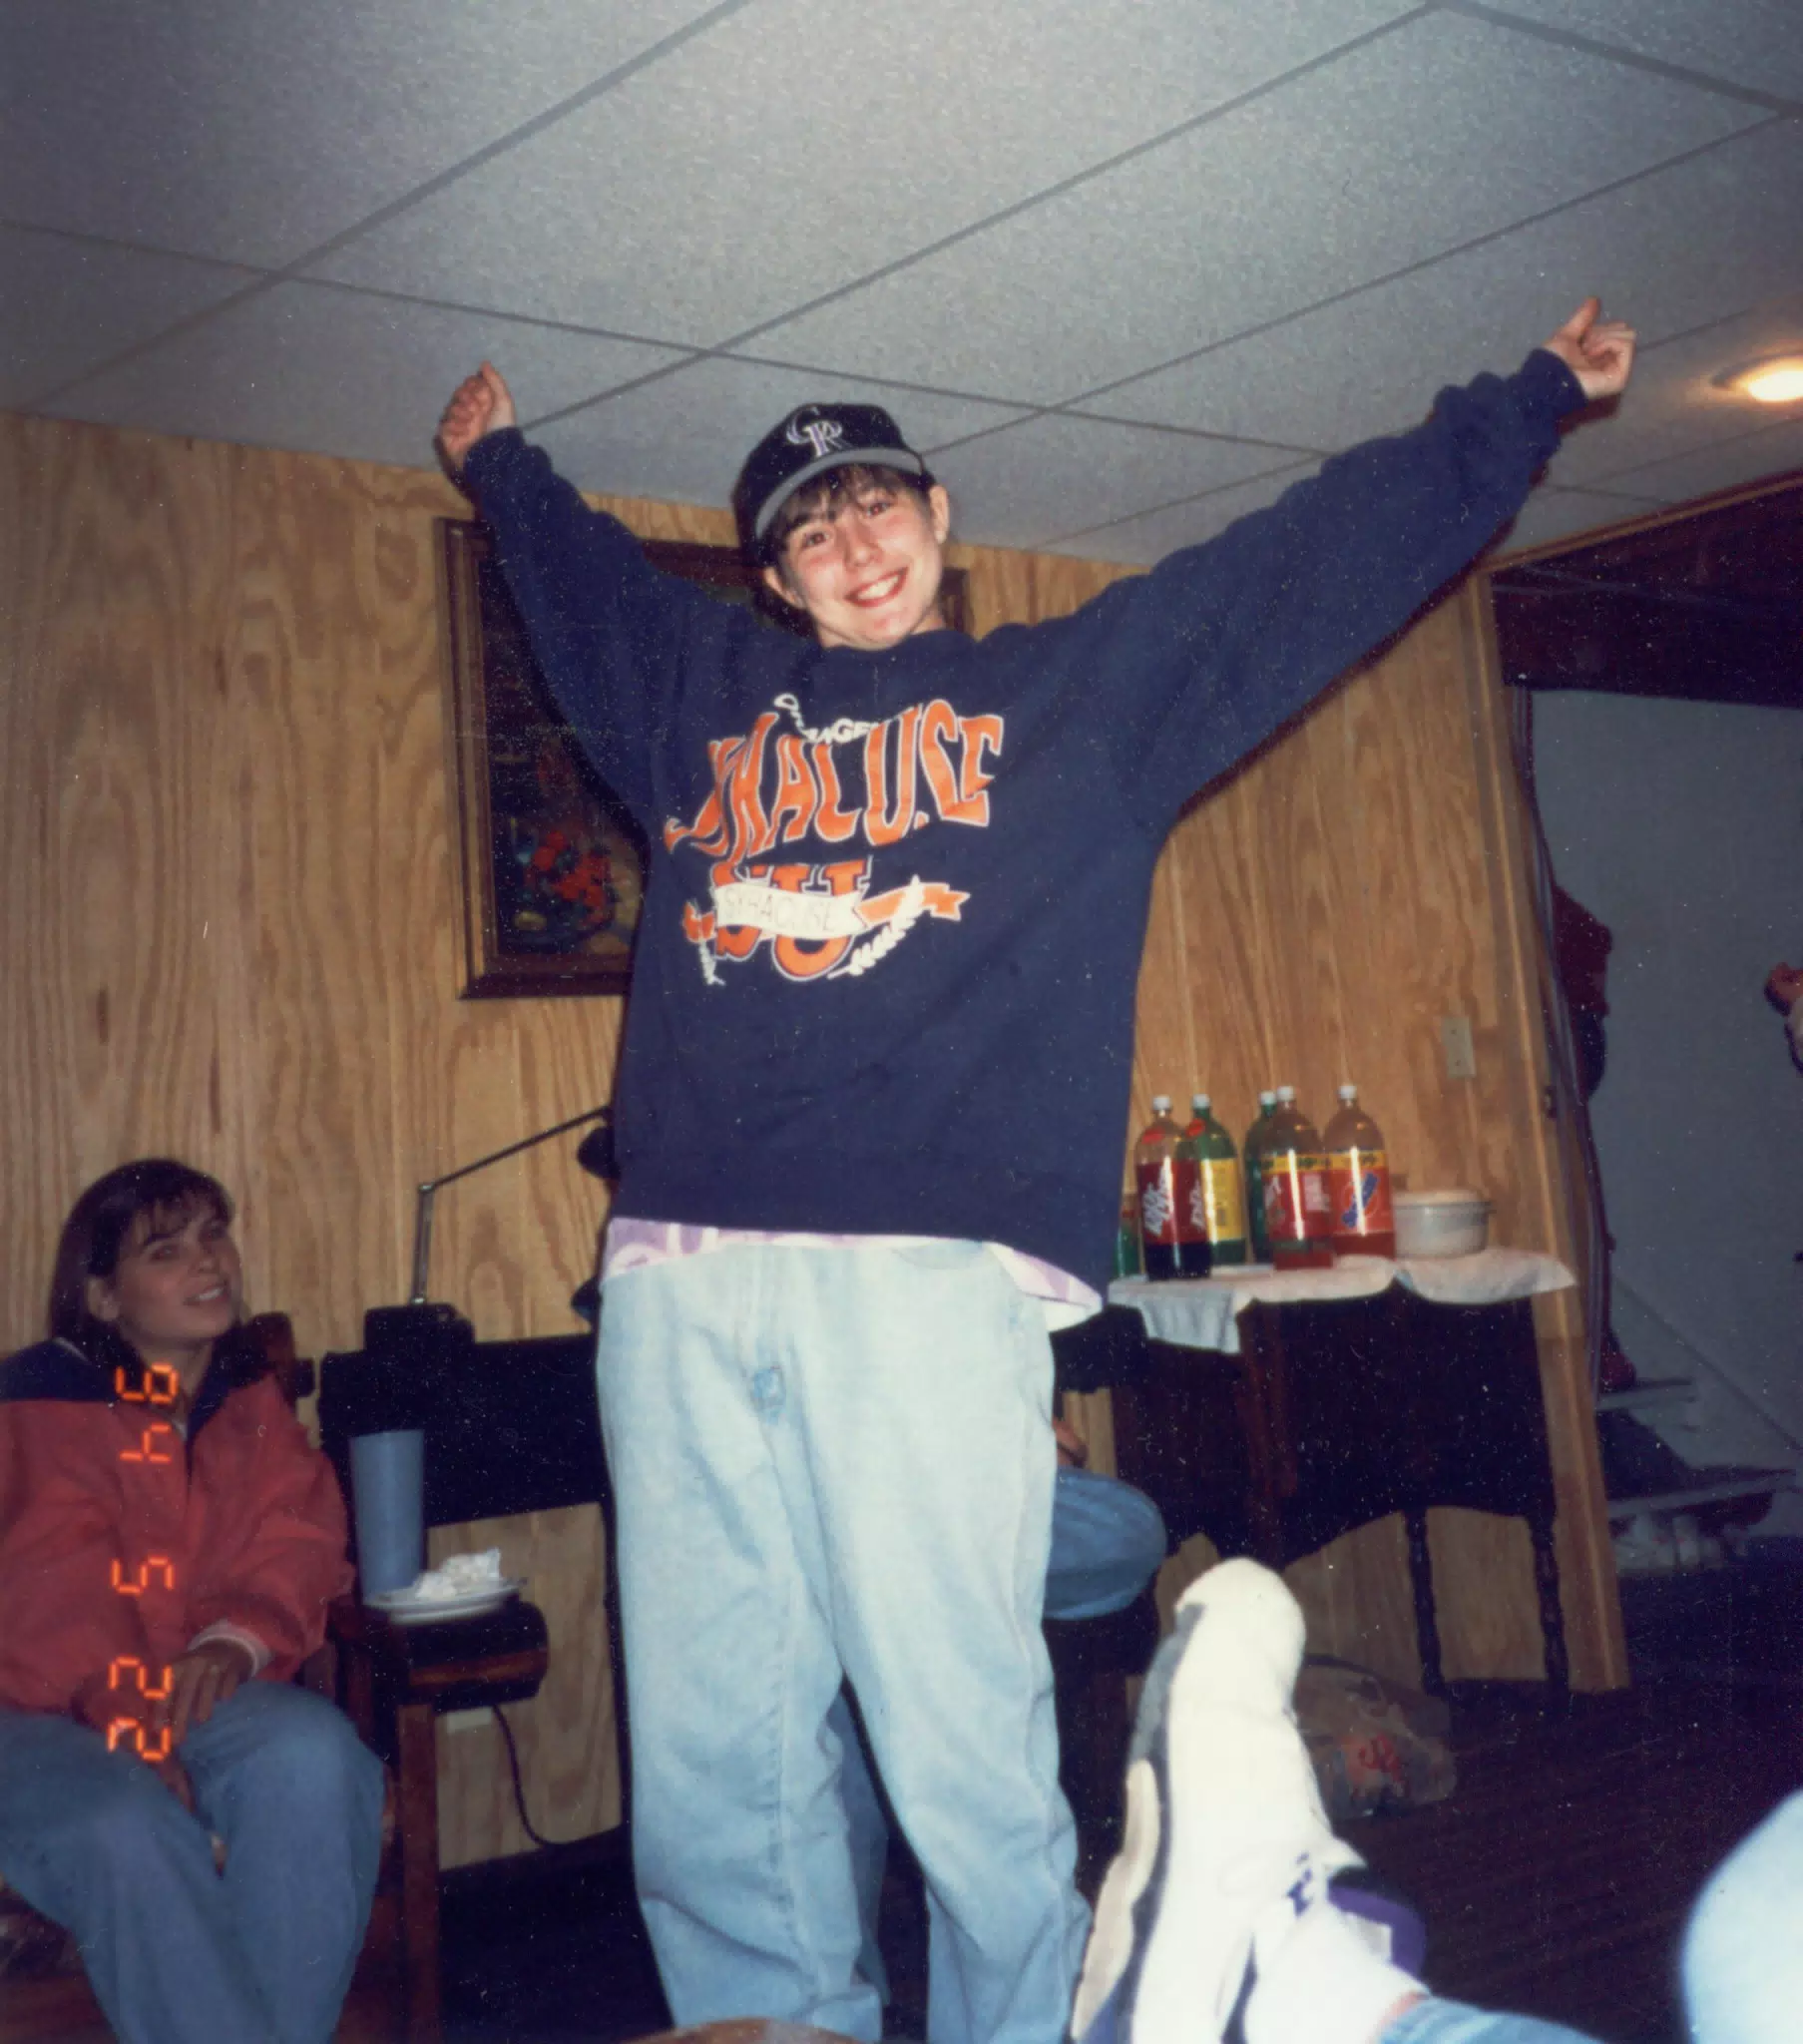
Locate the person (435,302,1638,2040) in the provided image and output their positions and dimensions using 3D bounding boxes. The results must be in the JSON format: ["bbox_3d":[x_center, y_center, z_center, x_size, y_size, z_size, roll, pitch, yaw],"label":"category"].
[{"bbox_3d":[0.023,0.085,1.576,0.954,1.489,0.348,-8,-9,30],"label":"person"}]

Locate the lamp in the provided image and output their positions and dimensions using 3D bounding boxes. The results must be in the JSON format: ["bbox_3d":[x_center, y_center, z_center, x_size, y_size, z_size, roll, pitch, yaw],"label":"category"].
[{"bbox_3d":[-0.653,0.302,2.927,0.455,0.150,0.510,7,32,-34],"label":"lamp"}]

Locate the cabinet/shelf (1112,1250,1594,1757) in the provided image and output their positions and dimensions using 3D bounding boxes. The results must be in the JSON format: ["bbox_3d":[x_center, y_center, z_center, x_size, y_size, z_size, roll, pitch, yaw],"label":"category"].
[{"bbox_3d":[0.664,0.986,3.428,0.850,1.138,0.702,10,-25,-25],"label":"cabinet/shelf"}]

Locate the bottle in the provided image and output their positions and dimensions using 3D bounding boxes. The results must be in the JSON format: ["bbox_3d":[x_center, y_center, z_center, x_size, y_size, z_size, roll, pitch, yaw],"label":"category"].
[{"bbox_3d":[0.692,0.324,3.492,0.380,0.315,0.400,-2,-6,0],"label":"bottle"}]
